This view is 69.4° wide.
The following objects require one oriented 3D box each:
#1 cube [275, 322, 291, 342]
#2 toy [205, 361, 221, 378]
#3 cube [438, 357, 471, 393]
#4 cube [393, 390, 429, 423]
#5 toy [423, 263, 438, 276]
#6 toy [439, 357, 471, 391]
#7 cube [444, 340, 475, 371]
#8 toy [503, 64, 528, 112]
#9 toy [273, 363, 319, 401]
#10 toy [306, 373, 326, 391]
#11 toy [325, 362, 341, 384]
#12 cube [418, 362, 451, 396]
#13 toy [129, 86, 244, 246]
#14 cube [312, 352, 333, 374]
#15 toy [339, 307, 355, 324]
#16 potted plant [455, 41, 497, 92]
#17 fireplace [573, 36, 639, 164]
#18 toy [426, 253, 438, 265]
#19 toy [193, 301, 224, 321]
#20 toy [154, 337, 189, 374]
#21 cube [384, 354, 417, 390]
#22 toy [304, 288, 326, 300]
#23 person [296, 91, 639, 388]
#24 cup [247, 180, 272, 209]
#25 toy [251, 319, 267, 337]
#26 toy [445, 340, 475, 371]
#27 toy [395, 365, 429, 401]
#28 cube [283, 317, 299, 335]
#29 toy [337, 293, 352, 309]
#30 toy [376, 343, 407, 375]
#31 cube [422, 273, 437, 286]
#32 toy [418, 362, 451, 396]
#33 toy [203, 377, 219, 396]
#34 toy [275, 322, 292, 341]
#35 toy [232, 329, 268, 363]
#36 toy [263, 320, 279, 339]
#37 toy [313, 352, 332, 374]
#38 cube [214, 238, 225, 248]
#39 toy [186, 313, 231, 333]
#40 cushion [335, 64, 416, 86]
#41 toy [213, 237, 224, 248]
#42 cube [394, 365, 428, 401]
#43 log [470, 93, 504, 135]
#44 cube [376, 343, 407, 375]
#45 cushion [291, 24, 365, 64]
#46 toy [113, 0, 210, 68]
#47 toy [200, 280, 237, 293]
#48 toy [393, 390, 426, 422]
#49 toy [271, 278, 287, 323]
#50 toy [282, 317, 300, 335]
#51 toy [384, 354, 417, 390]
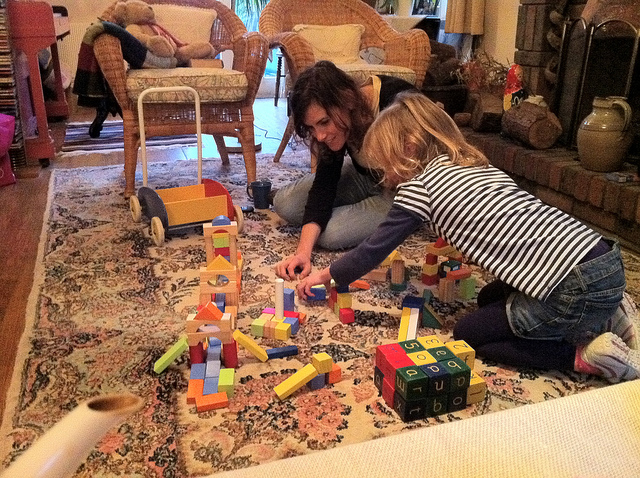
[{"bbox_3d":[-0.114,0.286,1.424,0.046,0.045,0.047,1,19,12],"label":"cube"},{"bbox_3d":[-0.288,0.350,1.247,0.038,0.009,0.064,-2,23,-4],"label":"toy"},{"bbox_3d":[0.332,0.328,1.161,0.069,0.066,0.069,-9,19,-13],"label":"cube"},{"bbox_3d":[0.226,0.411,1.160,0.073,0.058,0.071,-11,19,-36],"label":"cube"},{"bbox_3d":[0.420,0.116,1.748,0.045,0.047,0.047,-8,7,-34],"label":"toy"},{"bbox_3d":[0.331,0.328,1.159,0.069,0.065,0.066,-7,17,-15],"label":"toy"},{"bbox_3d":[0.387,0.302,1.248,0.071,0.069,0.070,-15,23,-16],"label":"cube"},{"bbox_3d":[1.249,-0.948,2.946,0.121,0.341,0.122,15,51,34],"label":"toy"},{"bbox_3d":[-0.064,0.370,1.200,0.116,0.027,0.066,-31,24,-20],"label":"toy"},{"bbox_3d":[-0.009,0.381,1.232,0.042,0.041,0.042,-5,18,-9],"label":"toy"},{"bbox_3d":[0.042,0.363,1.264,0.043,0.042,0.043,3,23,17],"label":"toy"},{"bbox_3d":[0.278,0.339,1.140,0.068,0.065,0.066,-5,24,-5],"label":"cube"},{"bbox_3d":[-0.632,-0.350,2.158,0.447,0.638,0.469,-14,28,-40],"label":"toy"},{"bbox_3d":[0.010,0.330,1.231,0.049,0.047,0.046,-11,23,-31],"label":"cube"},{"bbox_3d":[0.091,0.249,1.516,0.048,0.044,0.036,-8,24,-16],"label":"toy"},{"bbox_3d":[1.207,-1.335,3.564,0.282,0.333,0.947,5,24,14],"label":"potted plant"},{"bbox_3d":[1.528,-0.744,2.390,0.306,0.552,0.218,12,27,28],"label":"fireplace"},{"bbox_3d":[0.422,0.075,1.742,0.040,0.039,0.041,-2,-3,30],"label":"toy"},{"bbox_3d":[-0.293,0.189,1.229,0.072,0.037,0.058,3,24,8],"label":"toy"},{"bbox_3d":[-0.412,0.319,1.277,0.097,0.094,0.056,-11,25,-23],"label":"toy"},{"bbox_3d":[0.199,0.328,1.171,0.067,0.065,0.067,-5,18,-16],"label":"cube"},{"bbox_3d":[-0.003,0.192,1.627,0.068,0.045,0.037,-1,32,0],"label":"toy"},{"bbox_3d":[0.503,-0.107,1.496,0.605,0.731,1.024,-35,45,-29],"label":"person"},{"bbox_3d":[-0.322,-0.240,2.529,0.151,0.131,0.133,2,11,35],"label":"cup"},{"bbox_3d":[-0.188,0.276,1.453,0.048,0.047,0.045,3,5,6],"label":"toy"},{"bbox_3d":[0.377,0.317,1.285,0.072,0.070,0.069,11,47,-25],"label":"toy"},{"bbox_3d":[0.223,0.353,1.140,0.062,0.058,0.062,-5,16,-26],"label":"toy"},{"bbox_3d":[-0.085,0.269,1.467,0.046,0.046,0.047,2,25,16],"label":"cube"},{"bbox_3d":[0.081,0.203,1.521,0.043,0.042,0.044,-2,8,-7],"label":"toy"},{"bbox_3d":[0.186,0.318,1.246,0.067,0.068,0.065,-23,51,26],"label":"toy"},{"bbox_3d":[0.416,0.154,1.755,0.047,0.045,0.045,-15,21,-35],"label":"cube"},{"bbox_3d":[0.281,0.338,1.149,0.067,0.064,0.066,-5,11,-11],"label":"toy"},{"bbox_3d":[-0.286,0.375,1.195,0.028,0.008,0.032,-3,23,0],"label":"toy"},{"bbox_3d":[-0.113,0.284,1.425,0.047,0.045,0.048,0,19,9],"label":"toy"},{"bbox_3d":[-0.209,0.311,1.342,0.121,0.067,0.047,13,27,28],"label":"toy"},{"bbox_3d":[-0.156,0.281,1.435,0.044,0.043,0.045,4,9,38],"label":"toy"},{"bbox_3d":[0.007,0.329,1.230,0.048,0.046,0.045,-15,22,-35],"label":"toy"},{"bbox_3d":[-0.357,0.015,1.640,0.031,0.020,0.033,-1,21,6],"label":"cube"},{"bbox_3d":[-0.293,0.222,1.218,0.147,0.051,0.042,-1,13,0],"label":"toy"},{"bbox_3d":[0.336,-1.027,2.885,0.446,0.108,0.358,-21,31,-39],"label":"cushion"},{"bbox_3d":[-0.359,0.013,1.640,0.035,0.033,0.008,2,11,1],"label":"toy"},{"bbox_3d":[0.230,0.354,1.169,0.071,0.069,0.067,-4,20,-27],"label":"cube"},{"bbox_3d":[1.087,-0.796,2.979,0.154,0.203,0.287,2,34,-2],"label":"log"},{"bbox_3d":[0.181,0.321,1.236,0.061,0.065,0.069,16,8,28],"label":"cube"},{"bbox_3d":[0.063,-1.356,3.213,0.494,0.242,0.257,1,23,4],"label":"cushion"},{"bbox_3d":[-0.921,-1.208,2.745,0.522,0.359,0.316,-10,25,-20],"label":"toy"},{"bbox_3d":[-0.312,0.144,1.425,0.106,0.045,0.028,-8,24,-16],"label":"toy"},{"bbox_3d":[0.226,0.410,1.158,0.079,0.058,0.080,5,15,29],"label":"toy"},{"bbox_3d":[-0.135,0.187,1.444,0.027,0.112,0.024,7,-22,-16],"label":"toy"},{"bbox_3d":[-0.088,0.269,1.463,0.047,0.046,0.047,2,20,13],"label":"toy"},{"bbox_3d":[0.200,0.326,1.175,0.071,0.068,0.071,-6,16,-18],"label":"toy"}]
